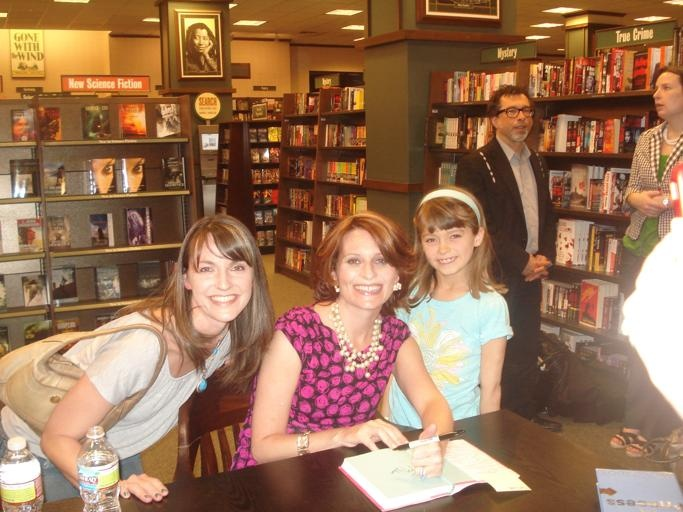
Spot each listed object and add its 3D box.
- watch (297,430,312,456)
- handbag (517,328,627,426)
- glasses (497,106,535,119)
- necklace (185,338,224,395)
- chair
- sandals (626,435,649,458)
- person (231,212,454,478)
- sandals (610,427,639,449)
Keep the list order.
[{"bbox_3d":[-0.122,0.588,1.595,0.039,0.062,0.059,-1,-4,18],"label":"watch"},{"bbox_3d":[1.689,0.892,3.779,0.521,0.228,0.693,2,0,-3],"label":"handbag"},{"bbox_3d":[1.250,-0.990,3.550,0.260,0.073,0.114,-5,9,-14],"label":"glasses"},{"bbox_3d":[-0.497,0.395,1.802,0.029,0.048,0.221,18,20,6],"label":"necklace"},{"bbox_3d":[-0.462,0.607,1.788,0.312,0.438,0.319,-2,3,-17],"label":"chair"},{"bbox_3d":[1.901,1.199,3.211,0.103,0.038,0.102,1,9,21],"label":"sandals"},{"bbox_3d":[0.035,0.370,1.832,0.864,0.989,0.659,-3,-5,33],"label":"person"},{"bbox_3d":[1.857,1.168,3.303,0.125,0.040,0.123,-24,18,-31],"label":"sandals"}]
